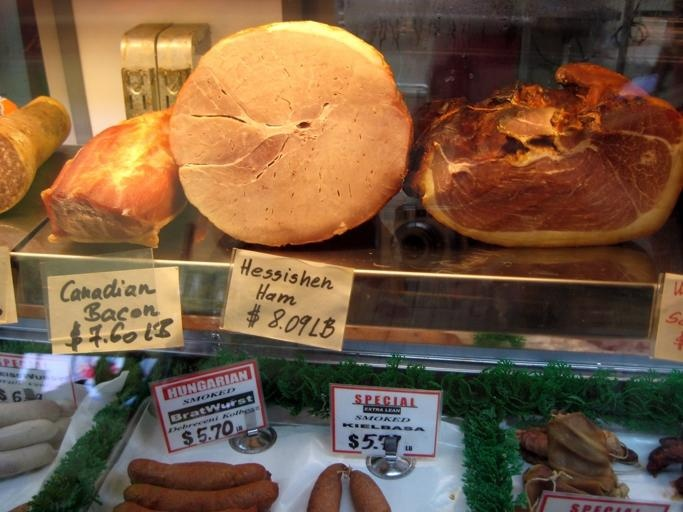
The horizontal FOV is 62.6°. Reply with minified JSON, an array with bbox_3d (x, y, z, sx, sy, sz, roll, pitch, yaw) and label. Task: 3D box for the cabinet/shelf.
[{"bbox_3d":[0.073,0.152,1.404,1.625,0.615,0.230,1,27,2],"label":"cabinet/shelf"}]
